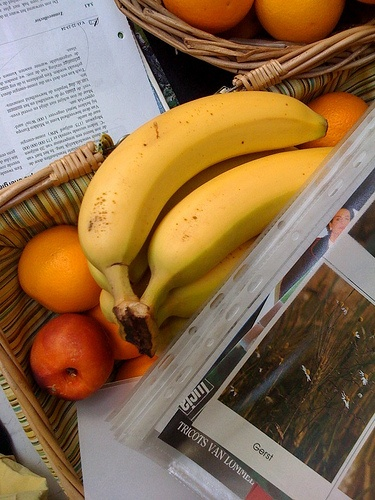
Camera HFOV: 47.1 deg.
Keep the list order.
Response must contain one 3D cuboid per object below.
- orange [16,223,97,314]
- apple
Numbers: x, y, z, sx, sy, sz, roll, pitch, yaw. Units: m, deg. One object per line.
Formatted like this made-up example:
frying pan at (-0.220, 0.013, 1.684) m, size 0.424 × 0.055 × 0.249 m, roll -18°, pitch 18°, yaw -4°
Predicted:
orange at (-0.137, 0.021, 0.528) m, size 0.104 × 0.091 × 0.093 m, roll -2°, pitch 9°, yaw 14°
apple at (-0.120, 0.116, 0.509) m, size 0.097 × 0.086 × 0.088 m, roll -5°, pitch 20°, yaw 3°
